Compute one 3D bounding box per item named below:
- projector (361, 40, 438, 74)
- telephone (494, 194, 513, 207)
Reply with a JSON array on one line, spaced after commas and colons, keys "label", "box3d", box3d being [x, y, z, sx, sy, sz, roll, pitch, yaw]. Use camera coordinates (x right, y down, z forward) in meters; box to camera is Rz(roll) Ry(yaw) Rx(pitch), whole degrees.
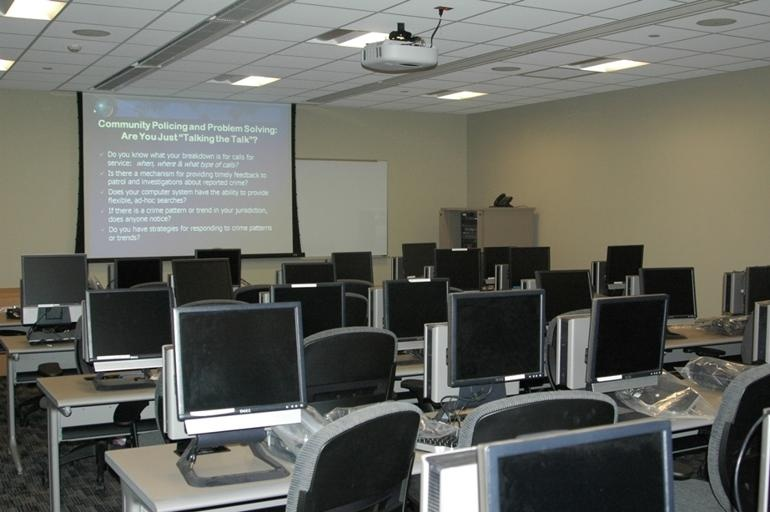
[{"label": "projector", "box3d": [0.116, -1.871, 5.543, 0.564, 0.233, 0.515, 2, 5, 44]}, {"label": "telephone", "box3d": [2.109, -1.016, 10.725, 0.311, 0.275, 0.699, -1, 4, 12]}]
